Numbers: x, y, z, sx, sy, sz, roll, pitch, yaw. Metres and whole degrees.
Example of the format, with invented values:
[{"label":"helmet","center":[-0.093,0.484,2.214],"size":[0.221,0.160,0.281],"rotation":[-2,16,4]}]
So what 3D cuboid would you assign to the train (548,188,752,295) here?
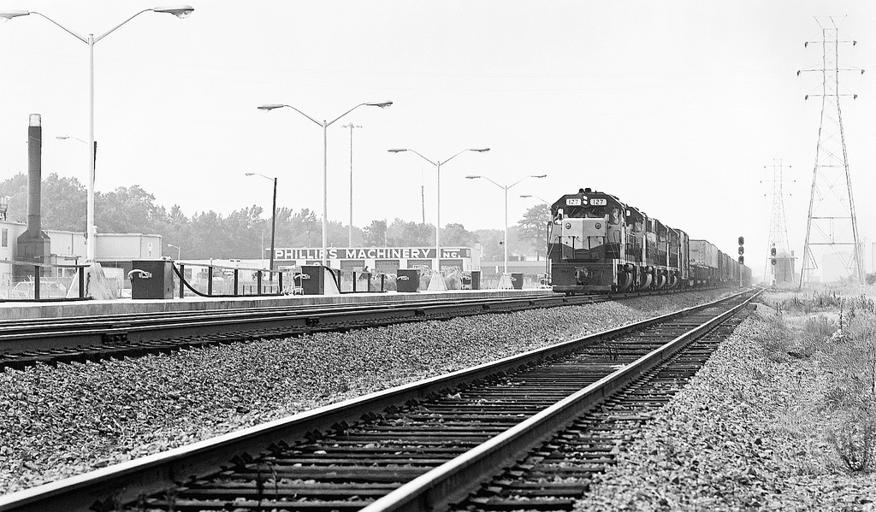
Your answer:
[{"label":"train","center":[10.951,-0.348,50.342],"size":[3.467,4.393,23.284],"rotation":[-1,-1,22]}]
